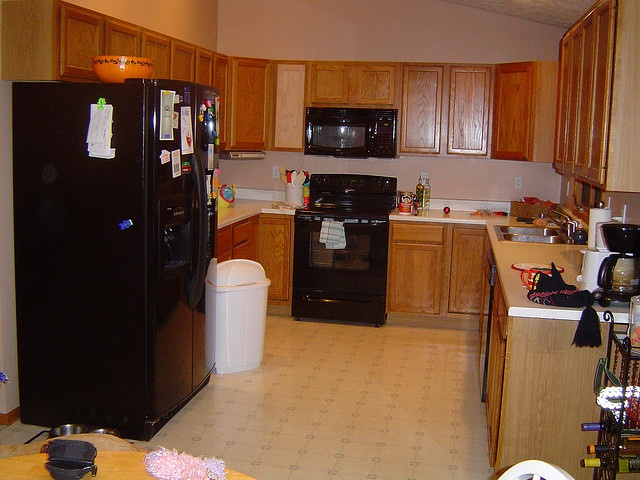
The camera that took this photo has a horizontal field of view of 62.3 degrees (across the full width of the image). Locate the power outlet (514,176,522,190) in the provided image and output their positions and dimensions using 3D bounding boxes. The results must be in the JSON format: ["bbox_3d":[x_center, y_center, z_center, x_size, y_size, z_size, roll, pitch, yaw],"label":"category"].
[{"bbox_3d":[2.015,-0.577,5.367,0.075,0.127,0.017,1,11,-1],"label":"power outlet"}]

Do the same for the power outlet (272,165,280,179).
[{"bbox_3d":[-0.468,-0.743,5.701,0.129,0.154,0.020,6,19,10],"label":"power outlet"}]

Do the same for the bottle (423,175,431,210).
[{"bbox_3d":[1.088,-0.499,5.372,0.089,0.336,0.278,3,11,11],"label":"bottle"}]

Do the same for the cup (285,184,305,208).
[{"bbox_3d":[-0.258,-0.461,5.432,0.199,0.239,0.213,2,13,-1],"label":"cup"}]

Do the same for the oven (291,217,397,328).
[{"bbox_3d":[0.211,0.141,5.366,0.967,1.072,0.882,4,14,10],"label":"oven"}]

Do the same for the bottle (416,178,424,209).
[{"bbox_3d":[1.011,-0.475,5.366,0.087,0.292,0.297,3,12,10],"label":"bottle"}]

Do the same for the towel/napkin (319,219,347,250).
[{"bbox_3d":[0.130,-0.057,4.970,0.255,0.274,0.064,2,11,2],"label":"towel/napkin"}]
